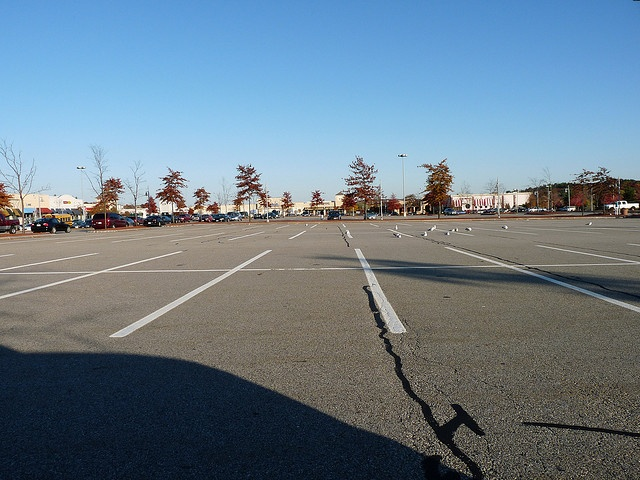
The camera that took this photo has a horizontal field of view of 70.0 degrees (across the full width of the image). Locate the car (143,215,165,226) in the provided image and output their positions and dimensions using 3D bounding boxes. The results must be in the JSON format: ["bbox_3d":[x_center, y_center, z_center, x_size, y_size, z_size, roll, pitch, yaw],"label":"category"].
[{"bbox_3d":[-21.768,-2.368,60.231,2.205,1.169,2.125,-2,6,-11],"label":"car"}]

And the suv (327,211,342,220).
[{"bbox_3d":[2.387,-3.979,75.024,1.367,1.168,2.342,-1,0,1],"label":"suv"}]

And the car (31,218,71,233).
[{"bbox_3d":[-25.614,-1.300,43.414,1.816,1.441,3.084,0,6,7],"label":"car"}]

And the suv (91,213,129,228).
[{"bbox_3d":[-23.843,-2.077,52.066,2.097,1.583,4.722,1,7,10],"label":"suv"}]

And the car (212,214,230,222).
[{"bbox_3d":[-16.656,-3.635,76.820,2.470,1.180,7.147,-2,7,-14],"label":"car"}]

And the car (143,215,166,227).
[{"bbox_3d":[-21.973,-2.420,60.940,1.978,0.992,3.346,0,1,-12],"label":"car"}]
